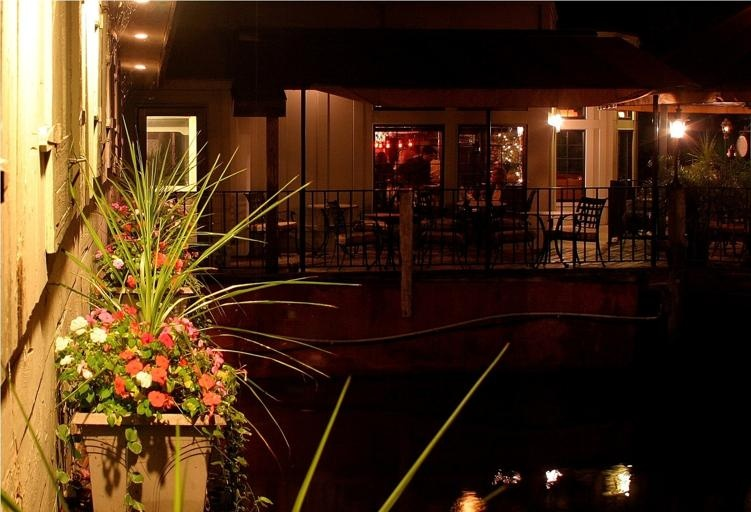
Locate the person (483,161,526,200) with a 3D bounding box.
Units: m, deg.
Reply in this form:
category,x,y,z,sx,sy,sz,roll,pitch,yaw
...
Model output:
category,x,y,z,sx,sy,sz,roll,pitch,yaw
person,2.261,-1.361,12.100,0.877,0.862,0.491,0,1,-7
